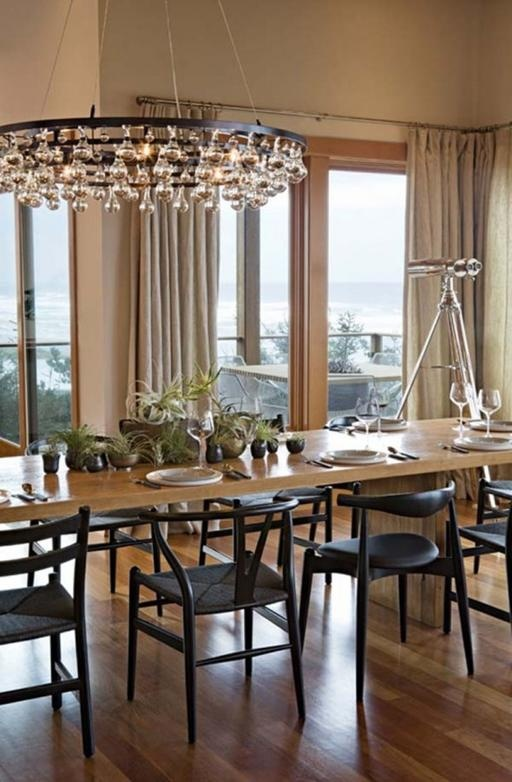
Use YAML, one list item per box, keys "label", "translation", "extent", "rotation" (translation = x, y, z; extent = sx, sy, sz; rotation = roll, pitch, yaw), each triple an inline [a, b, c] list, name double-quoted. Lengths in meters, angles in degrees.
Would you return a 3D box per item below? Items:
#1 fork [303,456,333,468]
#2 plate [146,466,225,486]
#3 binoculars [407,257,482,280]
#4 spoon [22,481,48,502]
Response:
- label: "fork"
  translation: [0.224, 0.247, 2.356]
  extent: [0.030, 0.026, 0.217]
  rotation: [-3, 2, -22]
- label: "plate"
  translation: [-0.223, 0.273, 2.107]
  extent: [0.245, 0.044, 0.293]
  rotation: [-1, -3, 11]
- label: "binoculars"
  translation: [1.247, -0.828, 4.360]
  extent: [0.484, 0.147, 0.193]
  rotation: [4, -1, 43]
- label: "spoon"
  translation: [-0.626, 0.287, 1.822]
  extent: [0.038, 0.032, 0.127]
  rotation: [4, 7, -28]
